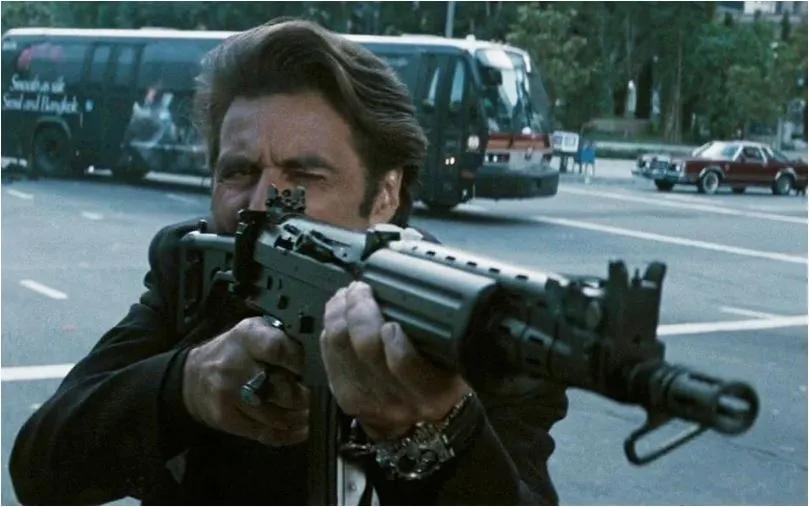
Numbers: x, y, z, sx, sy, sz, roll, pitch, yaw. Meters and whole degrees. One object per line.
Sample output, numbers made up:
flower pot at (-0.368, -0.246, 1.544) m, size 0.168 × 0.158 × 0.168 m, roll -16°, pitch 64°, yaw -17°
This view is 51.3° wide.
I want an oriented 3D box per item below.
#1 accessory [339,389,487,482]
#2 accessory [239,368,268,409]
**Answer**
accessory at (0.033, 0.516, 2.440) m, size 0.339 × 0.146 × 0.264 m, roll -1°, pitch -14°, yaw -10°
accessory at (-0.454, 0.408, 2.555) m, size 0.037 × 0.106 × 0.073 m, roll 22°, pitch -18°, yaw -33°
